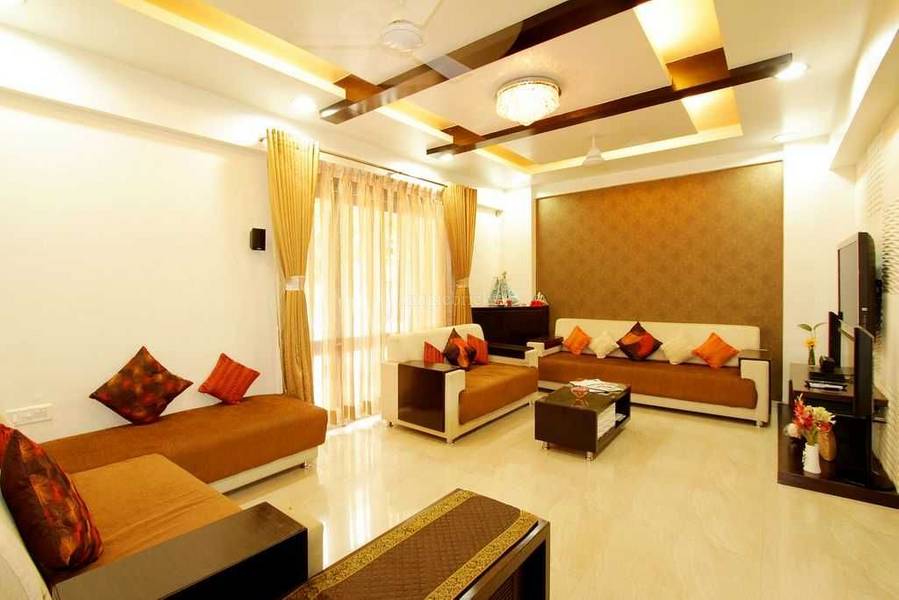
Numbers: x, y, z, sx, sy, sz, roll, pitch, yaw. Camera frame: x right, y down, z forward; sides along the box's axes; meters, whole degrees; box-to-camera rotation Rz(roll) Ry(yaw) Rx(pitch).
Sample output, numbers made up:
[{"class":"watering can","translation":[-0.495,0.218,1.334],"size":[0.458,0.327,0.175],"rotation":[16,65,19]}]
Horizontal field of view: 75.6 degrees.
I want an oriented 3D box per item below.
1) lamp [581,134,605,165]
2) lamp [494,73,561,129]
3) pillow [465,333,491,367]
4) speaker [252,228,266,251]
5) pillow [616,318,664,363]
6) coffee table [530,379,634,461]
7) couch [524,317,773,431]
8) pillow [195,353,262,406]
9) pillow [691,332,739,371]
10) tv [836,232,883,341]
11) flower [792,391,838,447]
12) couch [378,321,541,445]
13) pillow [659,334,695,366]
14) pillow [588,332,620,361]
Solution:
[{"class":"lamp","translation":[1.666,-1.703,6.691],"size":[0.182,0.357,0.628],"rotation":[-2,2,14]},{"class":"lamp","translation":[0.766,-1.889,5.587],"size":[0.615,0.366,0.334],"rotation":[-2,2,11]},{"class":"pillow","translation":[0.361,0.618,7.237],"size":[0.105,0.326,0.362],"rotation":[-20,-14,41]},{"class":"speaker","translation":[-1.936,-0.609,5.919],"size":[0.177,0.226,0.118],"rotation":[-4,3,-35]},{"class":"pillow","translation":[2.454,0.514,7.473],"size":[0.433,0.450,0.137],"rotation":[-39,-38,5]},{"class":"coffee table","translation":[1.398,1.216,6.124],"size":[0.732,0.625,0.960],"rotation":[-1,3,31]},{"class":"couch","translation":[2.419,0.803,7.432],"size":[2.922,1.060,0.875],"rotation":[2,2,28]},{"class":"pillow","translation":[-2.166,0.770,5.718],"size":[0.430,0.438,0.117],"rotation":[21,-42,-10]},{"class":"pillow","translation":[3.261,0.608,7.101],"size":[0.477,0.390,0.337],"rotation":[-2,2,4]},{"class":"tv","translation":[4.006,-0.118,5.642],"size":[0.218,1.565,1.197],"rotation":[-1,-1,26]},{"class":"flower","translation":[3.347,1.121,5.365],"size":[0.305,0.394,0.335],"rotation":[-4,-18,45]},{"class":"couch","translation":[0.002,0.521,6.658],"size":[1.120,1.045,1.948],"rotation":[-1,1,36]},{"class":"pillow","translation":[2.865,0.622,7.273],"size":[0.110,0.350,0.339],"rotation":[27,-53,-33]},{"class":"pillow","translation":[2.054,0.602,7.724],"size":[0.099,0.324,0.326],"rotation":[34,-67,-30]}]
